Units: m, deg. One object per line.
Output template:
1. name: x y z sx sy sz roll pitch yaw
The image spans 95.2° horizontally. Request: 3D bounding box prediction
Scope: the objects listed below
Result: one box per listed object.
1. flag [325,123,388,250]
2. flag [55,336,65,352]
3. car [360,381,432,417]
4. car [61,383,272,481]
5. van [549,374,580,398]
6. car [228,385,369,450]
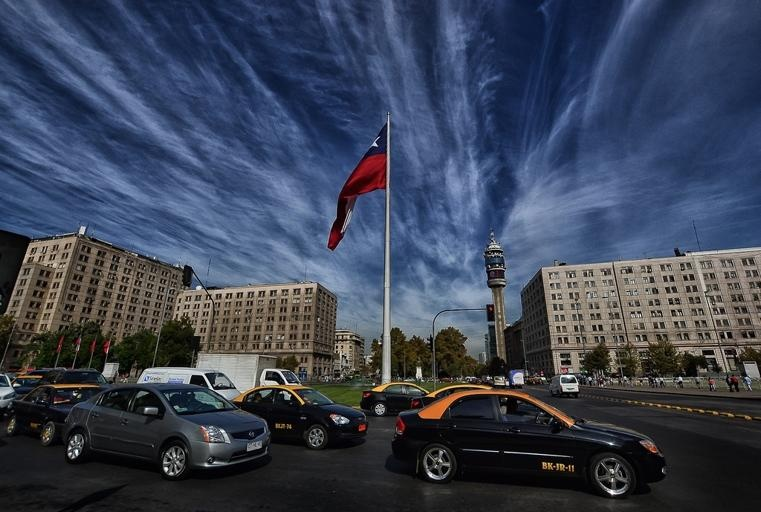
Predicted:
1. flag: -1.185 -4.175 20.013 3.210 7.437 0.934 -7 -23 25
2. flag: -56.988 15.850 61.246 1.011 3.642 0.865 13 22 -21
3. car: 0.784 7.706 18.403 3.543 1.214 1.717 -5 -17 5
4. car: -5.710 4.488 8.992 5.050 2.131 1.463 -3 -21 14
5. van: 17.828 12.581 33.527 1.931 1.725 3.517 -1 -9 8
6. car: -2.885 5.606 12.171 4.513 1.565 2.086 -8 -26 19
